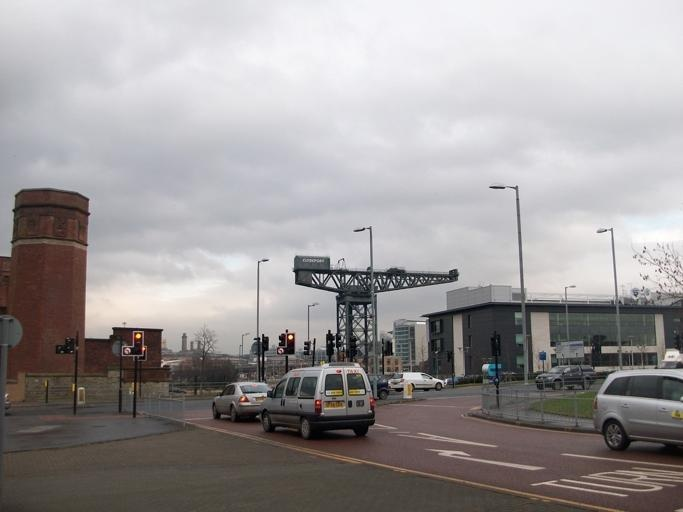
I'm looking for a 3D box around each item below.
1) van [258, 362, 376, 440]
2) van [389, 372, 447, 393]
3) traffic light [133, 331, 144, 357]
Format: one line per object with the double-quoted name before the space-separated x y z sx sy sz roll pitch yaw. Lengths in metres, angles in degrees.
"van" -0.769 4.953 23.246 2.109 1.655 3.632 6 -9 -33
"van" 5.868 9.952 53.597 2.900 1.518 6.452 -7 -12 26
"traffic light" -10.759 4.616 35.748 0.546 1.268 0.924 -1 -11 -4
